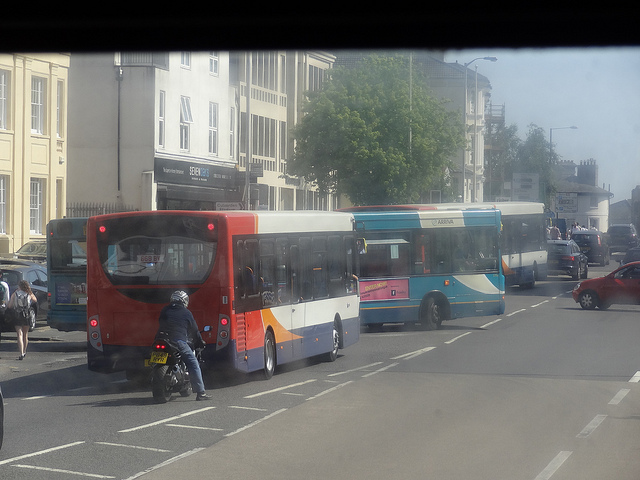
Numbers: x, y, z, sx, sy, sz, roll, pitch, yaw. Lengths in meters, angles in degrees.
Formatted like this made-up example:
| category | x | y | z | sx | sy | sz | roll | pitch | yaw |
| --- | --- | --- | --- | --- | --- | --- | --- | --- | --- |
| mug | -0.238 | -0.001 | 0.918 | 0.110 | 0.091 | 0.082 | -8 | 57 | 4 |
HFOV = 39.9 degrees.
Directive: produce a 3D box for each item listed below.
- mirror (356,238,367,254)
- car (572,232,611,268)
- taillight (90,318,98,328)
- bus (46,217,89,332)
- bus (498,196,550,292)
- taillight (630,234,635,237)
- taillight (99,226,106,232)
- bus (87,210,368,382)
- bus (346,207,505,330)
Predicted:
| category | x | y | z | sx | sy | sz | roll | pitch | yaw |
| --- | --- | --- | --- | --- | --- | --- | --- | --- | --- |
| mirror | 1.062 | 0.181 | 22.692 | 0.292 | 0.421 | 0.142 | 1 | 16 | -6 |
| car | 18.265 | 0.869 | 58.966 | 2.334 | 2.010 | 5.147 | 0 | 1 | 14 |
| taillight | -4.039 | 1.480 | 15.721 | 0.160 | 0.159 | 0.015 | -4 | -10 | 16 |
| bus | -6.355 | 0.857 | 22.209 | 1.236 | 2.883 | 0.361 | -3 | -10 | 14 |
| bus | 8.972 | 0.051 | 38.387 | 1.839 | 4.512 | 9.142 | -3 | -12 | 15 |
| taillight | 25.495 | -0.288 | 71.818 | 0.130 | 0.283 | 0.736 | -9 | -14 | 39 |
| taillight | -3.948 | -0.184 | 15.993 | 0.088 | 0.098 | 0.023 | 1 | -15 | 2 |
| bus | -1.512 | 1.126 | 19.118 | 2.792 | 3.473 | 8.391 | -2 | -1 | 22 |
| bus | 2.496 | 1.119 | 25.600 | 6.252 | 3.319 | 2.421 | -4 | -13 | 25 |
